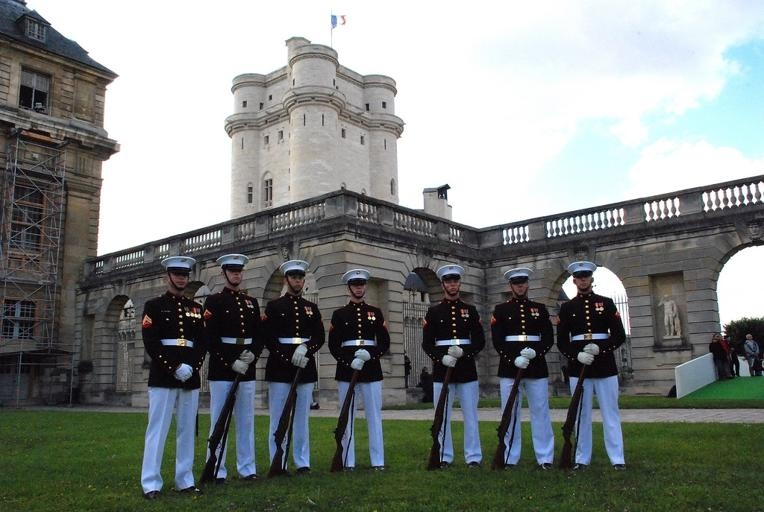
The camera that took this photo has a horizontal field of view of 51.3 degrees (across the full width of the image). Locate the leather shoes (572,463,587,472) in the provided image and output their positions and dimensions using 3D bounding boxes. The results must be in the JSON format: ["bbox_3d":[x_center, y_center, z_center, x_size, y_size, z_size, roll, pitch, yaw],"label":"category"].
[{"bbox_3d":[3.553,3.772,14.171,0.277,0.122,0.372,-5,-14,13],"label":"leather shoes"}]

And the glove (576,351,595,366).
[{"bbox_3d":[3.703,1.863,14.391,0.305,0.243,0.181,-5,-15,15],"label":"glove"}]

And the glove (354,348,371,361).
[{"bbox_3d":[-0.350,1.854,14.878,0.317,0.218,0.149,3,-15,-18],"label":"glove"}]

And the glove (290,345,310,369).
[{"bbox_3d":[-1.524,1.838,14.591,0.302,0.379,0.190,23,-2,-21],"label":"glove"}]

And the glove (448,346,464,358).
[{"bbox_3d":[1.385,1.789,14.769,0.195,0.225,0.298,-14,-19,40],"label":"glove"}]

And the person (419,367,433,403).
[{"bbox_3d":[1.564,4.534,27.834,0.472,1.371,0.439,1,10,13],"label":"person"}]

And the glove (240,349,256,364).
[{"bbox_3d":[-2.442,1.818,14.319,0.261,0.189,0.252,3,-13,-13],"label":"glove"}]

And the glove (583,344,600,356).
[{"bbox_3d":[3.798,1.680,14.435,0.255,0.193,0.182,21,-2,42],"label":"glove"}]

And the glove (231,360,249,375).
[{"bbox_3d":[-2.552,2.005,14.279,0.299,0.246,0.156,8,-17,-32],"label":"glove"}]

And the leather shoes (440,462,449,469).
[{"bbox_3d":[1.135,3.851,14.615,0.097,0.049,0.136,-2,-5,33],"label":"leather shoes"}]

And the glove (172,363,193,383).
[{"bbox_3d":[-3.466,2.033,13.812,0.288,0.323,0.193,1,-15,-10],"label":"glove"}]

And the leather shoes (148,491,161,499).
[{"bbox_3d":[-3.897,4.026,13.423,0.234,0.120,0.142,3,-15,-19],"label":"leather shoes"}]

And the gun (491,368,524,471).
[{"bbox_3d":[2.286,2.958,14.470,0.644,1.778,0.417,-3,-15,7],"label":"gun"}]

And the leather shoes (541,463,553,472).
[{"bbox_3d":[2.956,3.792,14.290,0.239,0.125,0.333,-4,-14,11],"label":"leather shoes"}]

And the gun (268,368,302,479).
[{"bbox_3d":[-1.770,3.015,14.423,0.473,1.898,0.492,7,-17,-28],"label":"gun"}]

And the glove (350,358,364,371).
[{"bbox_3d":[-0.453,2.022,14.802,0.255,0.239,0.209,-1,-14,-3],"label":"glove"}]

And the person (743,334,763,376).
[{"bbox_3d":[12.969,3.439,27.613,0.498,1.525,2.248,-8,-15,23],"label":"person"}]

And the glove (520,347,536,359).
[{"bbox_3d":[2.686,1.784,14.537,0.216,0.112,0.205,-11,-21,39],"label":"glove"}]

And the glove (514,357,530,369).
[{"bbox_3d":[2.571,1.959,14.583,0.292,0.243,0.225,-3,-14,8],"label":"glove"}]

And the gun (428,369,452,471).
[{"bbox_3d":[1.059,2.995,14.642,0.450,1.795,0.538,7,-17,-28],"label":"gun"}]

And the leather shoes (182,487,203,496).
[{"bbox_3d":[-3.267,4.010,13.559,0.356,0.140,0.126,-8,-14,16],"label":"leather shoes"}]

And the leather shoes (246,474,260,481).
[{"bbox_3d":[-2.344,3.955,14.198,0.251,0.101,0.189,1,-14,-10],"label":"leather shoes"}]

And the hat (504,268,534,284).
[{"bbox_3d":[2.991,0.430,17.236,0.624,0.267,0.620,2,-14,-3],"label":"hat"}]

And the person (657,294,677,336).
[{"bbox_3d":[9.585,2.016,26.369,0.585,1.475,0.388,-7,-16,19],"label":"person"}]

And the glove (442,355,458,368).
[{"bbox_3d":[1.268,1.953,14.829,0.250,0.244,0.262,5,-6,26],"label":"glove"}]

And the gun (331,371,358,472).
[{"bbox_3d":[-0.700,3.042,14.657,0.488,1.796,0.510,2,-15,-12],"label":"gun"}]
